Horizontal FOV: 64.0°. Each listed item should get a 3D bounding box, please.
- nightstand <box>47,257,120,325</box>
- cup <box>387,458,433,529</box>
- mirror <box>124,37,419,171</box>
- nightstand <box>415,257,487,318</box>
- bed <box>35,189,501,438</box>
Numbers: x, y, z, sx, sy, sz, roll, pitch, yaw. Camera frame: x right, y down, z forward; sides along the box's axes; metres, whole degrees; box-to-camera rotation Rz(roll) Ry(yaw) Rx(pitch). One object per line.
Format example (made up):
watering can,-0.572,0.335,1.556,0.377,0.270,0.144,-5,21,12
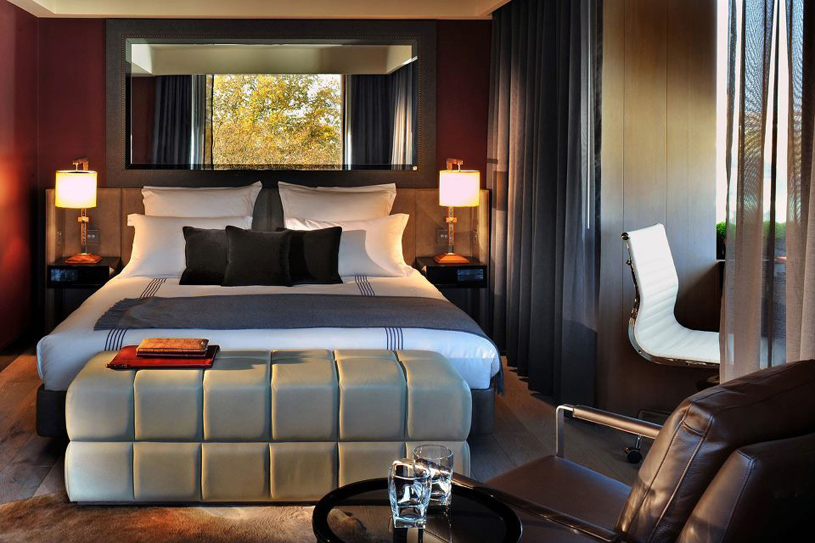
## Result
nightstand,-2.700,0.192,5.471,0.640,0.709,0.644,-1,16,-31
cup,0.005,0.783,2.320,0.202,0.245,0.206,1,-2,0
mirror,-1.190,-1.432,5.730,2.846,1.261,0.102,1,-1,5
nightstand,0.360,0.196,5.591,0.563,0.503,0.402,0,3,-16
bed,-0.969,0.130,4.621,2.124,0.924,1.968,0,7,-2
